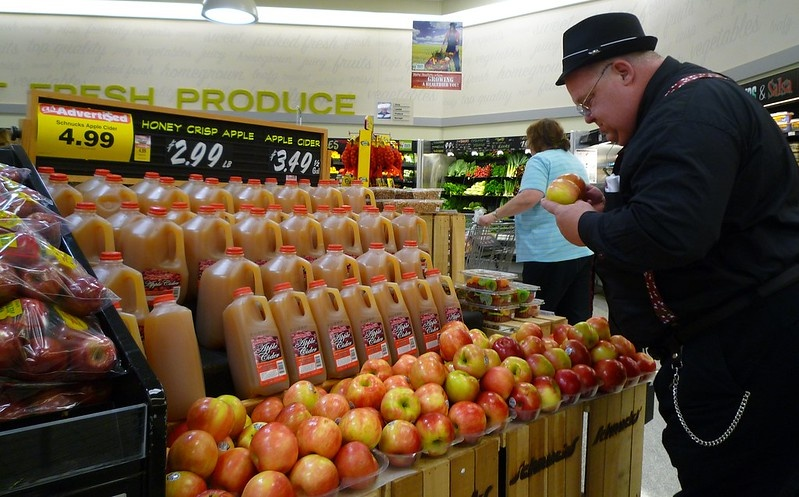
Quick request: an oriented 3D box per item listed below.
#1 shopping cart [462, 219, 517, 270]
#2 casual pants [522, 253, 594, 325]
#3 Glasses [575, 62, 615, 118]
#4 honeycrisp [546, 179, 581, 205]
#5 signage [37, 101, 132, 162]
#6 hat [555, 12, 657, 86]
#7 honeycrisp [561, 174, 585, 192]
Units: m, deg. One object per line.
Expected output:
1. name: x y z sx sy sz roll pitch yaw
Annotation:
1. shopping cart: 1.192 -0.046 7.018 0.924 0.951 0.645 -1 -1 41
2. casual pants: 1.141 0.275 3.473 0.382 0.827 0.278 -11 30 -14
3. Glasses: 0.806 -0.661 1.972 0.052 0.174 0.166 28 7 23
4. honeycrisp: 0.712 -0.248 2.102 0.122 0.119 0.118 -4 6 -8
5. signage: -1.970 -0.737 2.977 0.436 0.254 0.058 -2 3 -41
6. hat: 0.821 -0.835 1.950 0.311 0.157 0.270 -20 11 13
7. honeycrisp: 0.778 -0.304 2.120 0.091 0.090 0.084 -15 17 -31
